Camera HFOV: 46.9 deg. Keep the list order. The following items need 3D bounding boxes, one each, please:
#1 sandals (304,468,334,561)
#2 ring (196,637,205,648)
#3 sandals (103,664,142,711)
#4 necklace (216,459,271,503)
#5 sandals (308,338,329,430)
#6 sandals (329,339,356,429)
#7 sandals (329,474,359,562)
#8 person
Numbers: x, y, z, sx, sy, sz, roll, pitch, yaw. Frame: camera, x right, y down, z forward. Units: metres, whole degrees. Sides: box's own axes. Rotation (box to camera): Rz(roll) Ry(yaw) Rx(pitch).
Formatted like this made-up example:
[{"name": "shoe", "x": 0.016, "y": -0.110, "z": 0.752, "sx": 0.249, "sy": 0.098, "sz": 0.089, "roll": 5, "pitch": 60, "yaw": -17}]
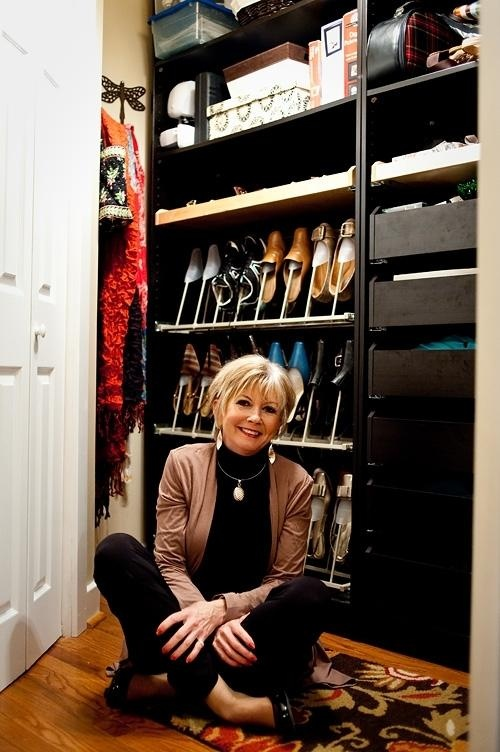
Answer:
[{"name": "sandals", "x": 0.247, "y": 0.474, "z": 2.054, "sx": 0.100, "sy": 0.346, "sz": 0.119, "roll": -2, "pitch": -20, "yaw": 21}, {"name": "ring", "x": -0.103, "y": 0.546, "z": 1.175, "sx": 0.008, "sy": 0.027, "sz": 0.010, "roll": 8, "pitch": -3, "yaw": 0}, {"name": "sandals", "x": -0.289, "y": 0.699, "z": 1.278, "sx": 0.040, "sy": 0.053, "sz": 0.121, "roll": 4, "pitch": 12, "yaw": -3}, {"name": "necklace", "x": -0.021, "y": 0.264, "z": 1.420, "sx": 0.097, "sy": 0.136, "sz": 0.011, "roll": 2, "pitch": -20, "yaw": -2}, {"name": "sandals", "x": 0.240, "y": 0.019, "z": 2.101, "sx": 0.052, "sy": 0.401, "sz": 0.043, "roll": 0, "pitch": -14, "yaw": 34}, {"name": "sandals", "x": 0.307, "y": 0.048, "z": 2.005, "sx": 0.070, "sy": 0.333, "sz": 0.095, "roll": 4, "pitch": 18, "yaw": 6}, {"name": "sandals", "x": 0.328, "y": 0.489, "z": 2.008, "sx": 0.090, "sy": 0.300, "sz": 0.074, "roll": -5, "pitch": -18, "yaw": 36}, {"name": "person", "x": -0.080, "y": 0.371, "z": 1.384, "sx": 0.538, "sy": 0.792, "sz": 0.532, "roll": 7, "pitch": -9, "yaw": -17}]
